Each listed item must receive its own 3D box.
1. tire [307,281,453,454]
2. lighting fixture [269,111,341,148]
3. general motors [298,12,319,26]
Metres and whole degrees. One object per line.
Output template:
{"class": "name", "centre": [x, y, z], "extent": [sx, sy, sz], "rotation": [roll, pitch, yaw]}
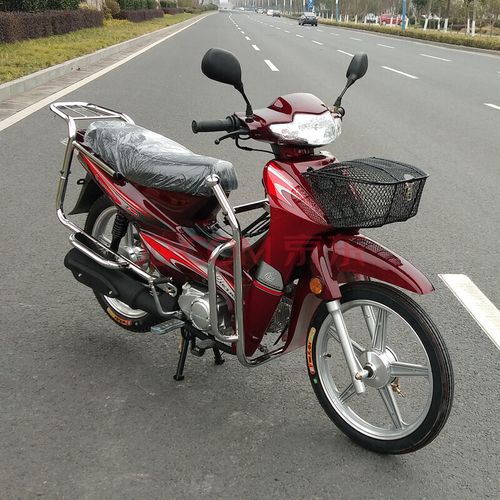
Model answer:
{"class": "tire", "centre": [0.531, 0.525, 2.064], "extent": [0.782, 0.713, 0.282], "rotation": [6, 20, 43]}
{"class": "lighting fixture", "centre": [0.229, -0.476, 1.920], "extent": [0.232, 0.072, 0.165], "rotation": [4, 24, 1]}
{"class": "general motors", "centre": [6.763, -26.384, 56.257], "extent": [2.001, 1.184, 2.929], "rotation": [-4, 32, -7]}
